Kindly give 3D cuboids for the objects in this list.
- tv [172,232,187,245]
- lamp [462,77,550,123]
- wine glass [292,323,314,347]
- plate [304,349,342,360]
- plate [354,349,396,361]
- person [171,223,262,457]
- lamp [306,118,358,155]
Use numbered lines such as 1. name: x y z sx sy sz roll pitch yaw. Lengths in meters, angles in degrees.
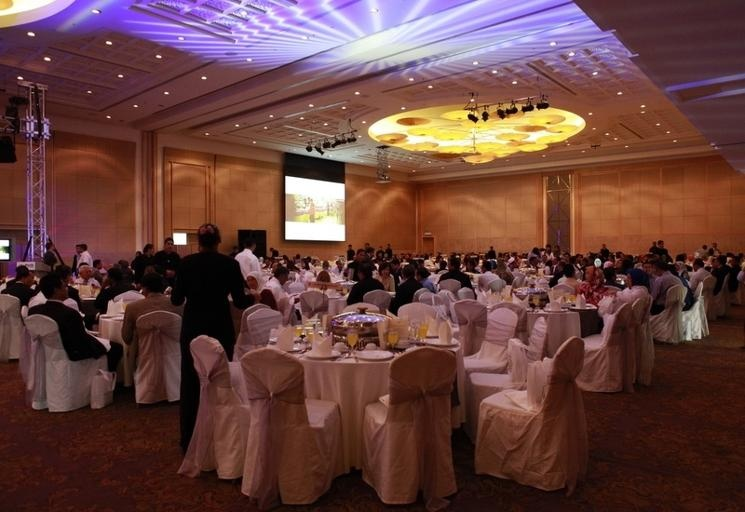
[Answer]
1. tv: -6.652 -0.602 18.174 0.103 0.433 0.403 -1 -12 37
2. lamp: 3.569 -3.900 14.149 2.180 0.595 2.580 1 6 8
3. wine glass: -0.712 0.815 5.383 0.183 0.206 0.189 2 -6 -8
4. plate: -0.467 0.907 4.853 0.350 0.069 0.166 1 6 11
5. plate: 0.015 0.910 4.859 0.368 0.033 0.327 0 6 0
6. person: -1.541 0.927 5.024 0.667 1.953 0.341 -3 7 -22
7. lamp: -1.382 -3.911 17.986 1.728 0.824 5.077 -1 6 -7
